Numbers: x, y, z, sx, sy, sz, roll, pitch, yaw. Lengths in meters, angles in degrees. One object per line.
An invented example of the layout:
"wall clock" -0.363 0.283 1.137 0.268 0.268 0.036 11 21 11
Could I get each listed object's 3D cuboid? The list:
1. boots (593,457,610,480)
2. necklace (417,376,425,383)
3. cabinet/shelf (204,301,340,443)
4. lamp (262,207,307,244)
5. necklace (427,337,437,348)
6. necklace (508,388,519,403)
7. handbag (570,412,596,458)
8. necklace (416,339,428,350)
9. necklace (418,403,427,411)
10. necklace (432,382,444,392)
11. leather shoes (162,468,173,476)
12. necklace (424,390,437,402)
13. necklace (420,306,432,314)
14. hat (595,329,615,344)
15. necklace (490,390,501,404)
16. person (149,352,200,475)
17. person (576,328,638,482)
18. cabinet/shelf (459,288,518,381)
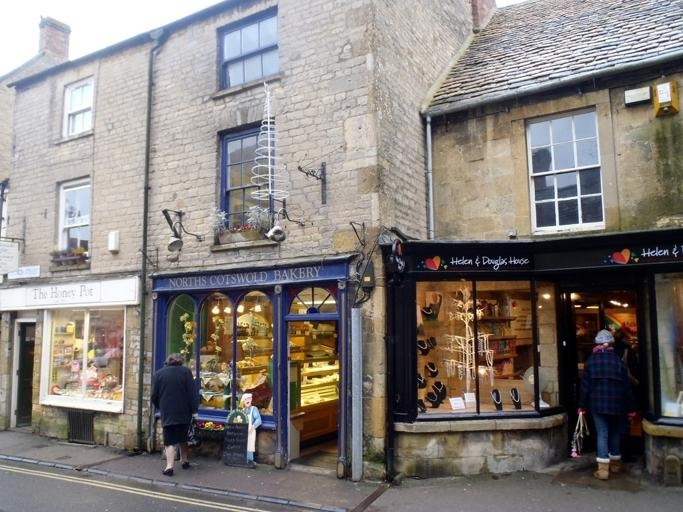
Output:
"boots" 4.783 3.878 13.639 0.229 0.395 0.424 0 -2 7
"necklace" 1.524 2.371 14.163 0.075 0.077 0.204 -10 -23 24
"cabinet/shelf" -1.206 2.370 15.351 2.386 3.358 1.604 -2 5 -7
"lamp" -1.161 -0.613 14.759 0.766 0.708 0.671 -4 5 -19
"necklace" 1.769 1.687 14.407 0.149 0.193 0.059 11 -7 -27
"necklace" 3.355 2.696 14.361 0.103 0.330 0.126 0 -39 9
"handbag" 4.751 3.556 14.604 0.372 0.470 1.107 0 -38 -2
"necklace" 1.562 1.720 14.287 0.155 0.200 0.085 -6 -26 -25
"necklace" 1.554 2.886 14.154 0.080 0.110 0.271 -10 -28 27
"necklace" 1.876 2.517 14.306 0.259 0.200 0.073 -4 6 -28
"leather shoes" -3.326 4.138 14.227 0.190 0.141 0.164 -3 5 -16
"necklace" 1.712 2.692 14.217 0.198 0.193 0.047 -33 21 -19
"necklace" 1.651 1.054 14.391 0.185 0.159 0.138 14 6 8
"hat" 4.957 1.506 13.901 0.311 0.266 0.262 -5 11 -30
"necklace" 3.000 2.717 14.314 0.191 0.281 0.104 -2 5 1
"person" -3.282 3.072 14.539 0.760 2.221 0.743 -5 6 -35
"person" 4.892 2.723 13.677 0.780 2.608 0.664 -4 5 -20
"cabinet/shelf" 2.981 1.475 14.454 0.923 1.901 0.299 -3 5 -11
